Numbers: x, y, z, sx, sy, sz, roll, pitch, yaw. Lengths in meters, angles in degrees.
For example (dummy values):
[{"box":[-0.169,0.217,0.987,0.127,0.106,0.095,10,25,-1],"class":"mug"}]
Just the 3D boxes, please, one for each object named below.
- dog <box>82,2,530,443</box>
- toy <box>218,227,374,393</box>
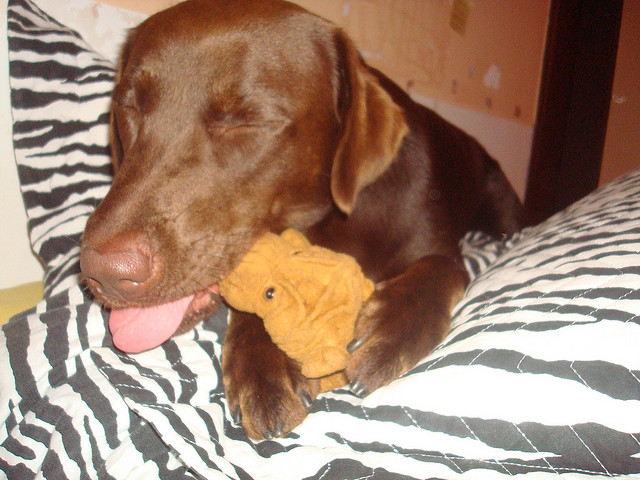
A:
[{"box":[0.007,-0.190,2.066,0.962,1.009,1.465,9,27,33],"class":"dog"},{"box":[-0.050,0.158,1.814,0.439,0.206,0.657,0,45,3],"class":"toy"}]
